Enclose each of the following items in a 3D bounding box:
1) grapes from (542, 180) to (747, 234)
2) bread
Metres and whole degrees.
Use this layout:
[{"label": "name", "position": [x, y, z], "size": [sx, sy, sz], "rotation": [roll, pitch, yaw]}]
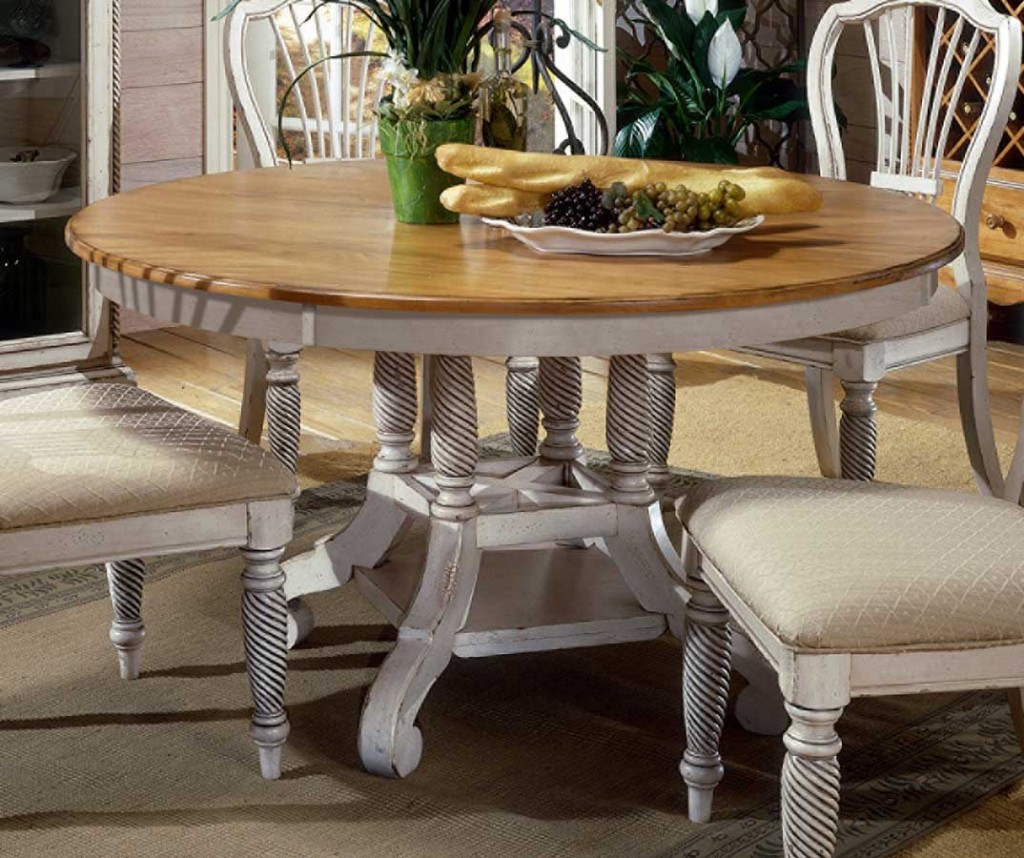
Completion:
[{"label": "grapes", "position": [0.174, -0.281, 1.274], "size": [0.329, 0.074, 0.086], "rotation": [1, 13, 17]}, {"label": "bread", "position": [0.220, -0.355, 1.416], "size": [0.700, 0.089, 0.173], "rotation": [1, 13, -8]}]
